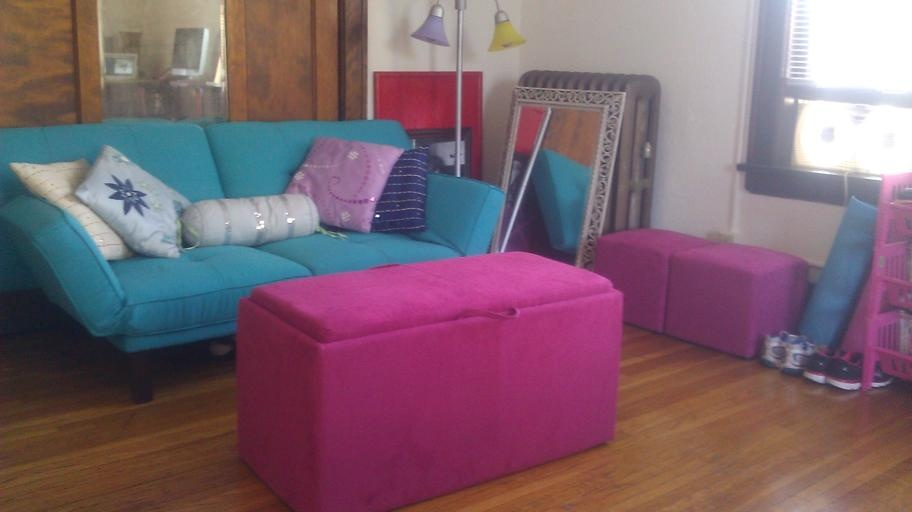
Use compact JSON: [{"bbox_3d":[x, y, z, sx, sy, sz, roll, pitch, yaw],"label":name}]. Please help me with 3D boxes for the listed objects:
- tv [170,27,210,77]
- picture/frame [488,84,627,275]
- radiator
[{"bbox_3d":[-1.824,-1.431,4.495,0.102,0.360,0.412,6,22,23],"label":"tv"},{"bbox_3d":[0.790,-0.552,4.709,0.077,1.667,1.305,2,12,-43],"label":"picture/frame"},{"bbox_3d":[1.037,-0.758,4.791,1.289,1.471,0.341,9,6,26],"label":"radiator"}]
